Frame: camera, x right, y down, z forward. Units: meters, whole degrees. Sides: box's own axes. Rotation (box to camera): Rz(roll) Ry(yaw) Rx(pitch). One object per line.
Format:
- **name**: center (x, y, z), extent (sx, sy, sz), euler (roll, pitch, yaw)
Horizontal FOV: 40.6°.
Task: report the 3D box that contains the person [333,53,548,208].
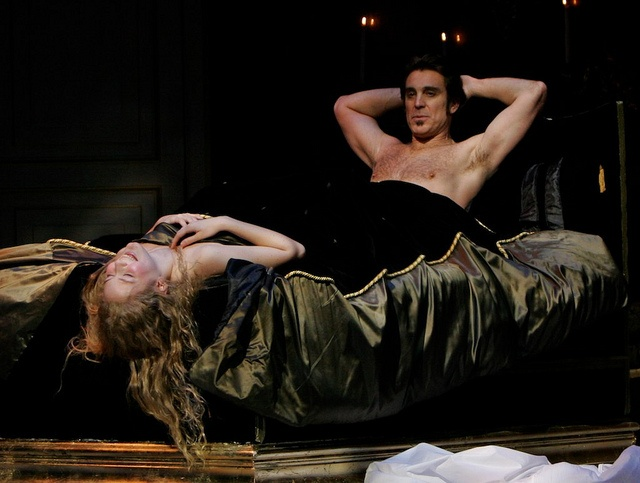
- **person**: center (0.453, -0.393, 3.692), extent (0.954, 0.735, 0.315), euler (6, -6, 30)
